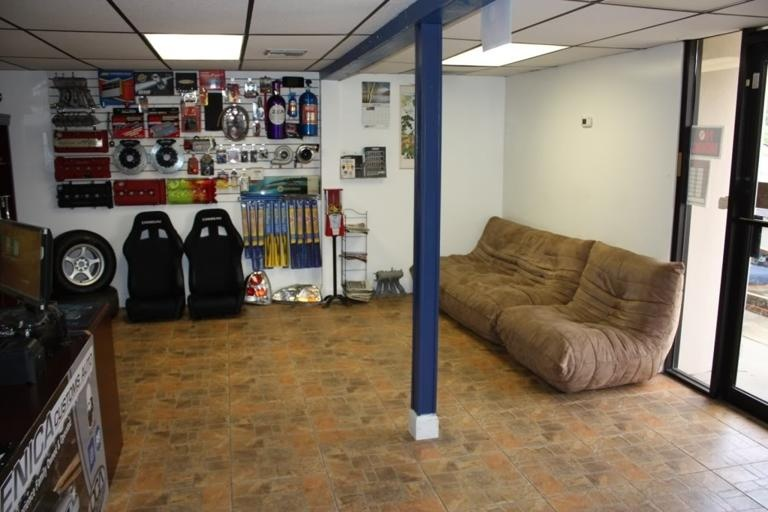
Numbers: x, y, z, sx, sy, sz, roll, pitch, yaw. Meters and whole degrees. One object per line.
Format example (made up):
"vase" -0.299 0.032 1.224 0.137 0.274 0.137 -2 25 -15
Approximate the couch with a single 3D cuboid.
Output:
"couch" 1.704 0.222 6.677 1.486 1.136 2.326 4 6 -21

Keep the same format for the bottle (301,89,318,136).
"bottle" -1.042 -1.976 7.210 0.235 0.617 0.171 -7 13 -24

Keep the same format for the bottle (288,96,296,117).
"bottle" -1.279 -2.080 7.253 0.134 0.282 0.150 -3 12 -9

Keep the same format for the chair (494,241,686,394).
"chair" 2.165 0.628 5.470 1.486 1.263 0.954 -4 12 -14

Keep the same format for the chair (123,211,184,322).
"chair" -3.044 0.122 6.900 0.750 1.370 0.745 -6 13 -21

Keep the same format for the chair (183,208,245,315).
"chair" -2.277 0.091 7.012 0.764 1.382 0.752 -6 13 -20

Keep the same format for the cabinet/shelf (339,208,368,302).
"cabinet/shelf" -0.427 -0.015 7.600 0.458 1.308 0.498 -2 12 -3
